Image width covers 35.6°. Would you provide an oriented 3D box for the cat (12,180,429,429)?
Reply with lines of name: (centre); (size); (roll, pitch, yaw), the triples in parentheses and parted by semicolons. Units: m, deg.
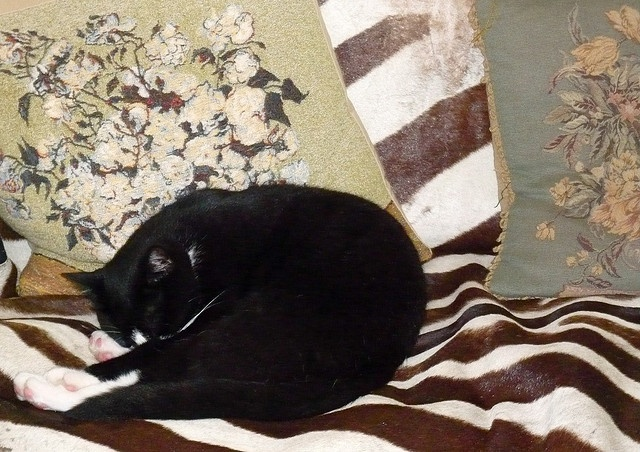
cat: (-0.209, 0.167, 2.677); (1.152, 0.465, 0.703); (-14, 42, 8)
